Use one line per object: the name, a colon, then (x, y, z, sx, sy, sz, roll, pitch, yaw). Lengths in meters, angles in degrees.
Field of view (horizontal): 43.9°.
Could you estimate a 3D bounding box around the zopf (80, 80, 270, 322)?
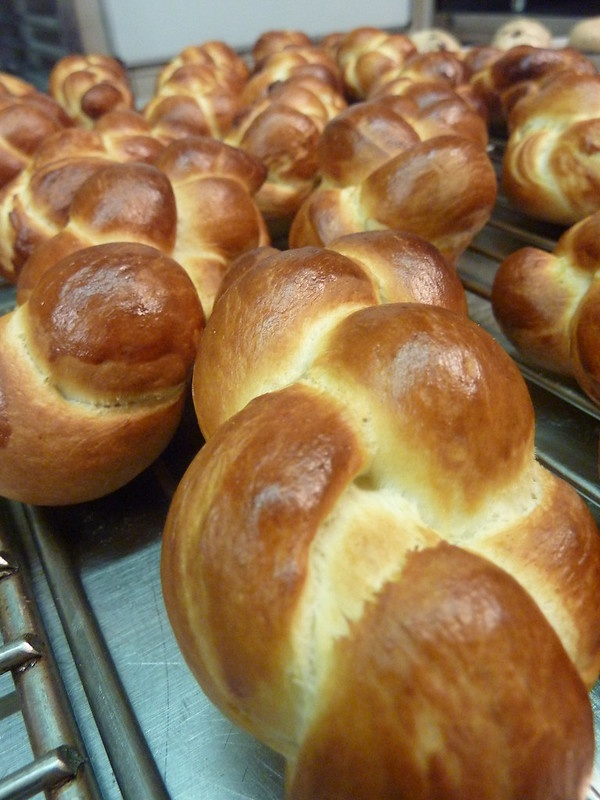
zopf: (-0.096, -0.211, 0.830, 0.202, 0.065, 0.190, 8, 55, -13)
